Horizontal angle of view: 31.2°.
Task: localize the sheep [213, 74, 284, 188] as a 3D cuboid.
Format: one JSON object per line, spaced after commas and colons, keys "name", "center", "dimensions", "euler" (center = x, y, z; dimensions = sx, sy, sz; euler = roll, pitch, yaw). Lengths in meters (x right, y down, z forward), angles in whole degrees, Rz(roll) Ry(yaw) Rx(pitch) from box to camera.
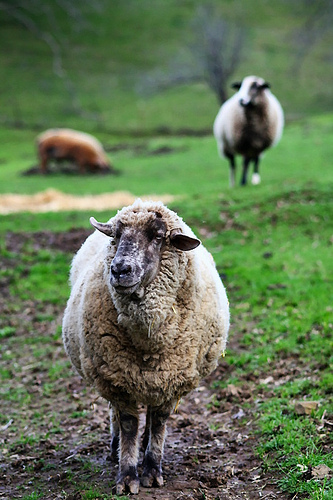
{"name": "sheep", "center": [0.613, -0.866, 4.556], "dimensions": [0.555, 0.728, 1.111], "euler": [2, 4, 7]}
